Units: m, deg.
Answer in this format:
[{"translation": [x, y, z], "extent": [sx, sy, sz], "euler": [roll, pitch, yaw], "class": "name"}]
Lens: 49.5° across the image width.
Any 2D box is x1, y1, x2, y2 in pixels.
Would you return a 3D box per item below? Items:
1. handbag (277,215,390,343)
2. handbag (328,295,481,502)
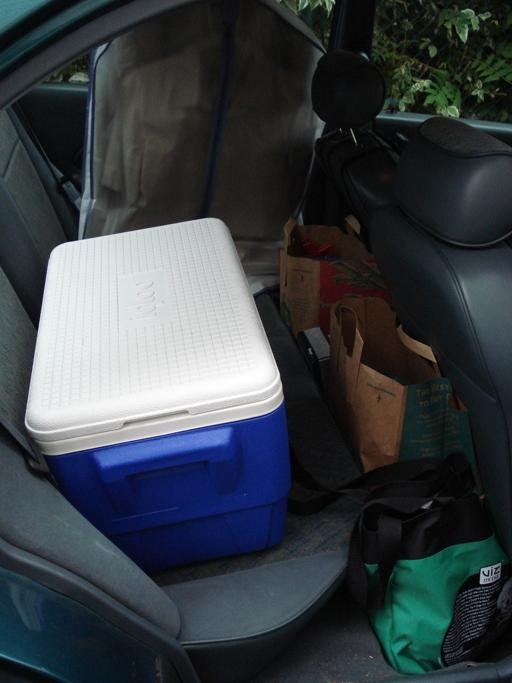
[{"translation": [0.165, -0.129, 1.171], "extent": [0.225, 0.303, 0.113], "euler": [-14, 20, -31], "class": "handbag"}, {"translation": [0.230, 0.087, 0.845], "extent": [0.106, 0.187, 0.290], "euler": [-18, 33, 3], "class": "handbag"}]
